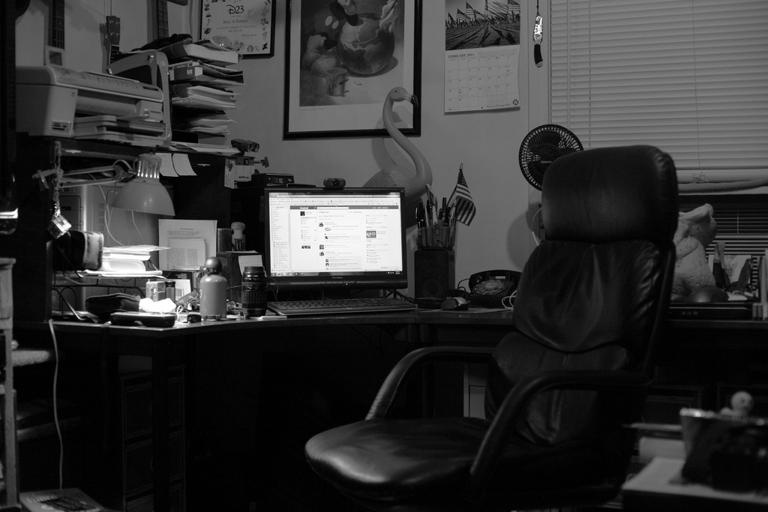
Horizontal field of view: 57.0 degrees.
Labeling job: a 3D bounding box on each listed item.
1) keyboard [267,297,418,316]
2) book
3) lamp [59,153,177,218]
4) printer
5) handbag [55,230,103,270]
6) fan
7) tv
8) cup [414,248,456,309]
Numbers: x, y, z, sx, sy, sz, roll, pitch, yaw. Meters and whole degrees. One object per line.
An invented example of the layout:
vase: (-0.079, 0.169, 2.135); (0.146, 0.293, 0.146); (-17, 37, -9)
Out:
keyboard: (-0.186, 0.204, 2.983); (0.434, 0.068, 0.265); (0, 4, -20)
book: (-0.839, -0.721, 3.304); (0.303, 0.502, 0.376); (7, 11, 40)
lamp: (-1.105, -0.298, 2.975); (0.328, 0.264, 0.422); (6, 7, 37)
printer: (-1.170, -0.572, 2.881); (0.434, 0.314, 0.587); (7, 8, 31)
handbag: (-1.202, -0.020, 2.764); (0.148, 0.144, 0.081); (1, -4, 5)
fan: (0.725, -0.456, 3.201); (0.298, 0.304, 0.080); (0, 9, 23)
tv: (-0.212, -0.074, 3.248); (0.656, 0.449, 0.226); (-1, 3, -27)
cup: (0.238, 0.098, 3.272); (0.166, 0.265, 0.158); (3, 6, 0)
